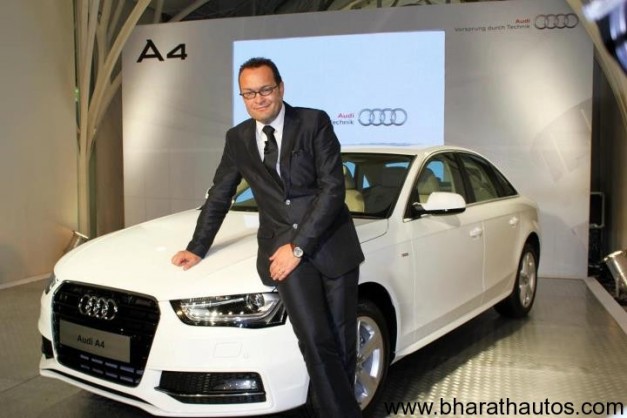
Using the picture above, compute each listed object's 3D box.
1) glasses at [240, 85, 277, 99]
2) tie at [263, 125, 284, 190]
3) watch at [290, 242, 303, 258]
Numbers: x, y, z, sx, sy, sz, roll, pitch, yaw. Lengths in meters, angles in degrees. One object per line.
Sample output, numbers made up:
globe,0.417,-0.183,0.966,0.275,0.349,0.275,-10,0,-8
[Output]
glasses,-0.315,-0.645,2.298,0.210,0.077,0.085,2,6,19
tie,-0.226,-0.308,2.330,0.079,0.401,0.076,-5,2,6
watch,-0.084,0.238,2.260,0.064,0.075,0.030,-1,5,-3
